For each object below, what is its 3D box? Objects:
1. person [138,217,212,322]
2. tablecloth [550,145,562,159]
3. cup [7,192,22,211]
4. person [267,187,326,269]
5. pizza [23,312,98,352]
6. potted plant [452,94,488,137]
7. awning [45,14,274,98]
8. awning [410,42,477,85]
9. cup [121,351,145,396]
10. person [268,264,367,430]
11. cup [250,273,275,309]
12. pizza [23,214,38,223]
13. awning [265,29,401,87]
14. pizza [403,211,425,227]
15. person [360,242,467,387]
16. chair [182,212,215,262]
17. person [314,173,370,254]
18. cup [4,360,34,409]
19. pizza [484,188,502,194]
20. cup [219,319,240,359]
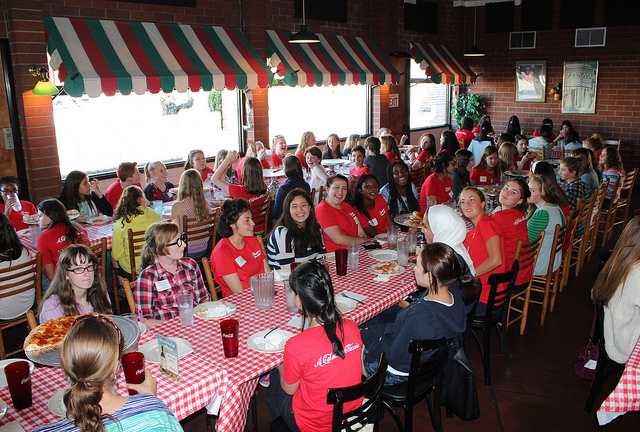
[{"bbox_3d":[-1.310,0.482,3.781,0.579,0.922,0.472,-10,24,-25],"label":"person"},{"bbox_3d":[5.508,-1.524,10.218,0.223,0.258,0.441,-1,15,15],"label":"tablecloth"},{"bbox_3d":[-3.833,-0.188,5.471,0.112,0.204,0.262,-15,17,-35],"label":"cup"},{"bbox_3d":[-0.240,0.162,4.493,0.632,0.884,0.531,-9,14,-37],"label":"person"},{"bbox_3d":[-1.517,0.671,2.550,0.289,0.046,0.394,-6,16,1],"label":"pizza"},{"bbox_3d":[4.932,-3.570,14.325,1.271,1.600,1.110,5,-7,14],"label":"potted plant"},{"bbox_3d":[-3.044,-2.998,7.483,3.817,1.456,1.192,1,4,-2],"label":"awning"},{"bbox_3d":[3.600,-4.544,12.937,0.880,1.240,2.594,9,20,43],"label":"awning"},{"bbox_3d":[-1.051,0.909,2.471,0.132,0.234,0.136,0,3,0],"label":"cup"},{"bbox_3d":[0.004,0.837,2.758,0.505,1.060,0.264,-3,14,8],"label":"person"},{"bbox_3d":[-0.443,0.578,3.432,0.220,0.275,0.224,-3,3,0],"label":"cup"},{"bbox_3d":[-3.403,0.021,5.117,0.139,0.053,0.146,6,5,-10],"label":"pizza"},{"bbox_3d":[0.207,-3.649,10.060,2.141,0.680,0.788,-17,49,-38],"label":"awning"},{"bbox_3d":[1.135,0.038,5.253,0.200,0.032,0.214,-12,24,20],"label":"pizza"},{"bbox_3d":[0.719,0.769,3.306,0.501,1.172,0.778,-20,34,-36],"label":"person"},{"bbox_3d":[-1.520,0.224,5.400,0.349,0.687,0.377,-16,29,-38],"label":"chair"},{"bbox_3d":[0.234,-0.042,4.994,0.493,0.922,0.652,-1,11,33],"label":"person"},{"bbox_3d":[-1.745,0.966,2.542,0.116,0.269,0.180,-17,19,-40],"label":"cup"},{"bbox_3d":[2.613,-0.400,6.635,0.221,0.063,0.207,0,16,21],"label":"pizza"},{"bbox_3d":[-0.611,0.800,2.949,0.121,0.260,0.169,-9,15,-16],"label":"cup"}]
